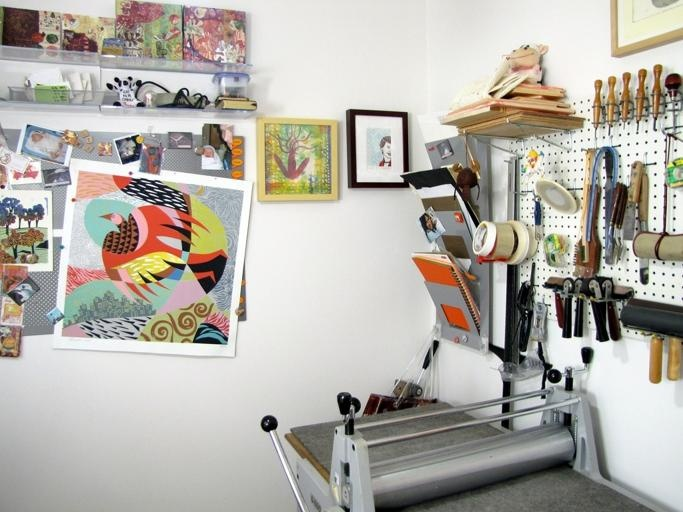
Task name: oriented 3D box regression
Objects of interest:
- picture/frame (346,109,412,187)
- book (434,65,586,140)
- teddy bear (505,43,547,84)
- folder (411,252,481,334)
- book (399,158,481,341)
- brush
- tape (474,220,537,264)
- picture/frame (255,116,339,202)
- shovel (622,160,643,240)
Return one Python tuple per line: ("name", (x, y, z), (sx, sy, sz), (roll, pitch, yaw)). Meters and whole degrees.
("picture/frame", (0.182, -0.580, 2.623), (0.323, 0.447, 0.031), (1, 0, -15))
("book", (0.671, -0.606, 1.951), (0.435, 0.242, 0.367), (-5, 9, -20))
("teddy bear", (0.739, -0.753, 1.974), (0.120, 0.186, 0.178), (1, 13, -18))
("folder", (0.526, 0.183, 2.437), (0.054, 0.527, 0.423), (-37, 27, -21))
("book", (0.513, 0.039, 2.339), (0.307, 0.901, 0.423), (-6, 9, -31))
("brush", (0.928, -0.147, 1.836), (0.052, 0.417, 0.114), (0, 6, -22))
("tape", (0.692, -0.068, 2.119), (0.184, 0.189, 0.237), (1, 5, -21))
("picture/frame", (-0.229, -0.494, 2.510), (0.427, 0.419, 0.070), (-3, 7, -12))
("shovel", (1.025, -0.185, 1.705), (0.061, 0.278, 0.051), (3, 9, 33))
